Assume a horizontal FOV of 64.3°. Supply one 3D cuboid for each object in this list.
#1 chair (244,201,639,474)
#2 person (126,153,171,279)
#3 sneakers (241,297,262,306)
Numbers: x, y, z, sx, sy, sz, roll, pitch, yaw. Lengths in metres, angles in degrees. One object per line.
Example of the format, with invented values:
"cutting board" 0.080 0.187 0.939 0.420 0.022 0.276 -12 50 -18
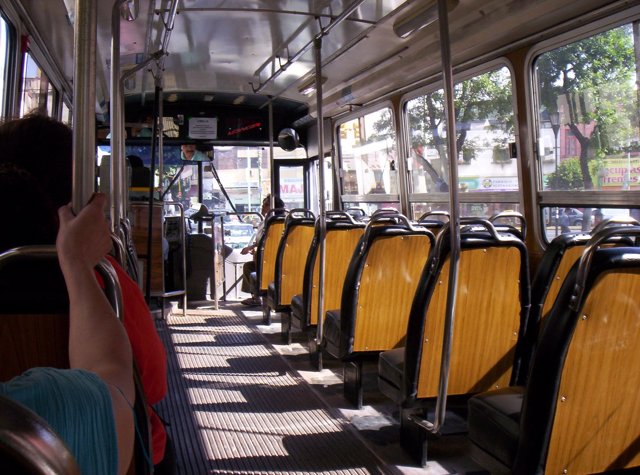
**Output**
"chair" 0.879 0.481 4.130 1.314 1.983 2.250 -2 10 -21
"person" -2.236 -0.508 7.228 0.898 1.341 0.937 -2 7 -22
"sneakers" -1.048 0.942 7.789 0.329 0.154 0.156 4 -5 19
